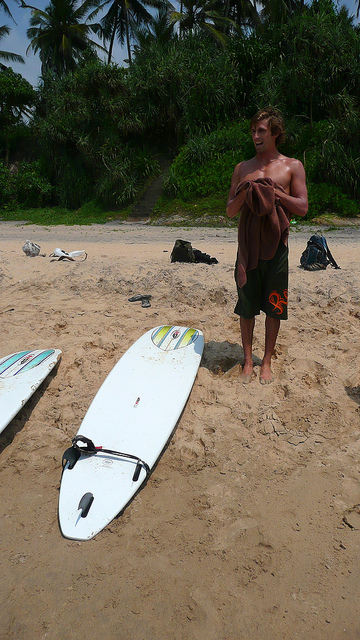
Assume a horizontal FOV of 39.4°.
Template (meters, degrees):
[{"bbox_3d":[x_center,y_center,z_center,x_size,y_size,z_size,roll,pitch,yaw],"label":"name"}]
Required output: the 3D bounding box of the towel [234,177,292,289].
[{"bbox_3d":[0.510,-0.519,3.174,0.366,0.699,0.344,4,12,5],"label":"towel"}]

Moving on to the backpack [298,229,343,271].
[{"bbox_3d":[1.767,-0.862,6.501,0.564,0.492,0.351,4,0,28],"label":"backpack"}]

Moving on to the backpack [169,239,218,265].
[{"bbox_3d":[0.207,-0.922,7.009,0.548,0.242,0.337,5,25,-1],"label":"backpack"}]

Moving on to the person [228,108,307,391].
[{"bbox_3d":[0.526,-0.409,3.319,0.457,1.811,0.553,0,13,-11],"label":"person"}]

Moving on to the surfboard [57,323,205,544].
[{"bbox_3d":[-0.276,0.616,3.248,0.407,0.262,1.657,6,28,13],"label":"surfboard"}]
